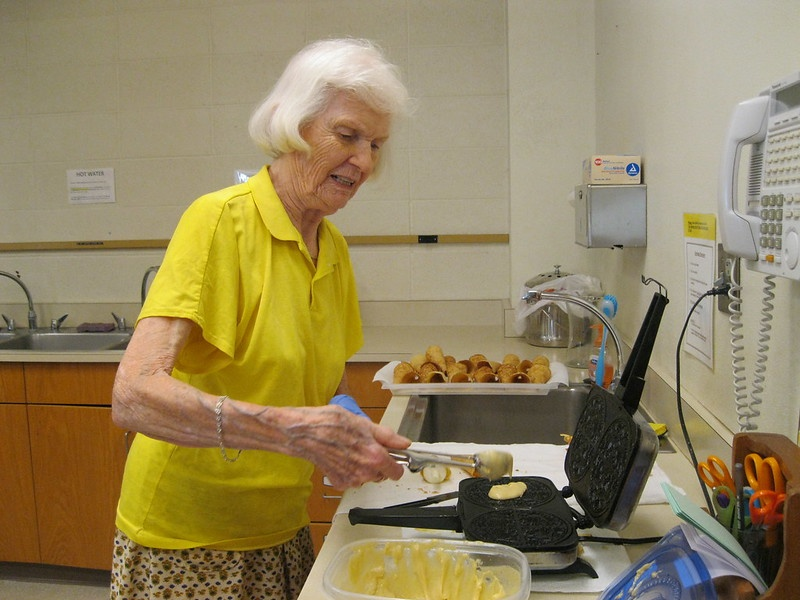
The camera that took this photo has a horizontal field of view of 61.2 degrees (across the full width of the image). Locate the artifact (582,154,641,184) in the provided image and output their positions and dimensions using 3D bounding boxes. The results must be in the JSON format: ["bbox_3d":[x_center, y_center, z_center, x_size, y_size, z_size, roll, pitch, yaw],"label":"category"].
[{"bbox_3d":[0.686,-0.434,2.292,0.131,0.099,0.237,-4,7,-25],"label":"artifact"}]

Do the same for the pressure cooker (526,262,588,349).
[{"bbox_3d":[0.597,0.034,2.652,0.290,0.346,0.310,0,3,11],"label":"pressure cooker"}]

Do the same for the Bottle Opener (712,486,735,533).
[{"bbox_3d":[0.551,0.355,1.150,0.024,0.065,0.016,-8,-40,0],"label":"Bottle Opener"}]

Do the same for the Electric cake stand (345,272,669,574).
[{"bbox_3d":[0.146,0.259,1.507,0.690,0.643,0.415,1,0,2],"label":"Electric cake stand"}]

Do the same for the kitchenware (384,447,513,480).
[{"bbox_3d":[0.093,0.334,1.359,0.275,0.064,0.074,8,-24,-6],"label":"kitchenware"}]

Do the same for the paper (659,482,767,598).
[{"bbox_3d":[0.486,0.363,1.052,0.148,0.147,0.079,2,7,21],"label":"paper"}]

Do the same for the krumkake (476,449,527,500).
[{"bbox_3d":[0.196,0.346,1.350,0.115,0.114,0.048,1,2,-28],"label":"krumkake"}]

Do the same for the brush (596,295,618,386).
[{"bbox_3d":[0.625,0.135,2.054,0.031,0.270,0.069,8,-2,-20],"label":"brush"}]
